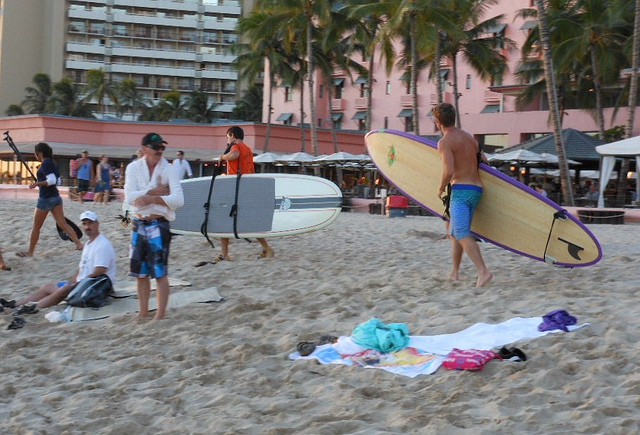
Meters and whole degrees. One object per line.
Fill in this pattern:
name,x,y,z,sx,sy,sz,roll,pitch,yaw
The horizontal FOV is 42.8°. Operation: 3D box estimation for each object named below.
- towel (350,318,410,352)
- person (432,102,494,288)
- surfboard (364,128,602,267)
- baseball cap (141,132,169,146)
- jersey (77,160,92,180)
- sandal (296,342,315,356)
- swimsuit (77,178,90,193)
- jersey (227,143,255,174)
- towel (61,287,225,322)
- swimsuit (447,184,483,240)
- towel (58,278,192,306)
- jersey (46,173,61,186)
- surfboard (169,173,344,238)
towel,0.882,1.536,10.988,1.052,0.214,0.771,-11,6,11
person,1.750,-0.390,12.580,1.290,2.494,1.158,1,-6,-20
surfboard,2.575,-0.320,13.129,3.465,2.095,1.017,8,16,37
baseball cap,-2.299,-1.123,11.325,0.329,0.118,0.191,4,5,13
jersey,-6.268,-1.262,21.658,0.350,0.500,0.391,-3,13,-14
sandal,-0.189,1.719,10.651,0.219,0.036,0.161,4,32,2
swimsuit,-6.292,-0.891,21.734,0.277,0.405,0.291,-3,13,-13
jersey,-1.369,-1.045,14.132,0.514,0.558,0.404,-3,13,-14
towel,-2.591,1.280,11.959,2.330,0.277,0.436,-2,11,-15
swimsuit,2.179,-0.096,12.248,0.459,0.825,0.340,1,14,3
towel,-2.786,1.068,12.496,0.659,0.114,2.010,3,7,22
jersey,-4.541,-0.670,13.916,0.146,0.218,0.313,4,12,18
surfboard,-1.661,-0.197,14.000,4.155,0.800,0.525,0,-2,-14
